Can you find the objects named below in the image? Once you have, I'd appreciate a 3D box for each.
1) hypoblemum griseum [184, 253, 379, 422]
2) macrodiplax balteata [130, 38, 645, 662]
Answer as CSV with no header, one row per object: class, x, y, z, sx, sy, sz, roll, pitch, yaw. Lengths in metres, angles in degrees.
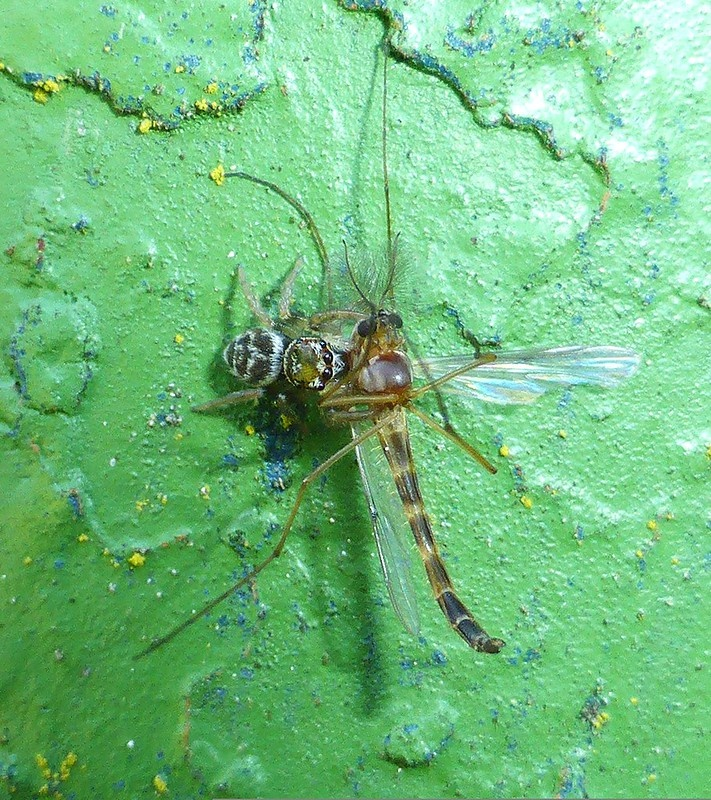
hypoblemum griseum,-0.117,-0.097,1.735,0.215,0.361,0.506,2,34,2
macrodiplax balteata,0.022,-0.074,1.535,0.967,0.860,0.441,44,-4,5
